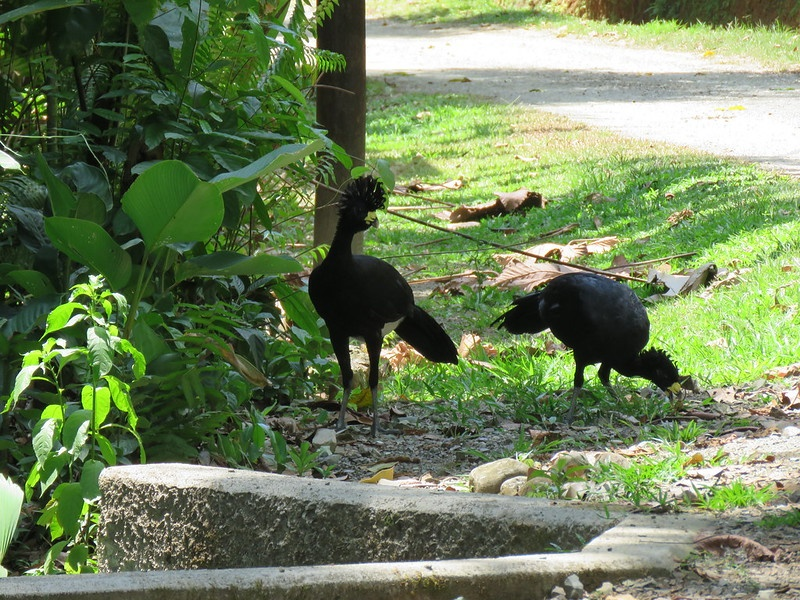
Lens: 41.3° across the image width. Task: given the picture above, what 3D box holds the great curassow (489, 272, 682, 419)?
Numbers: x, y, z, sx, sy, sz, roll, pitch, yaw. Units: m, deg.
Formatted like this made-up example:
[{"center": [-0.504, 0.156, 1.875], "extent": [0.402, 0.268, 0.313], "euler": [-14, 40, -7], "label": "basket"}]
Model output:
[{"center": [1.058, 0.183, 5.697], "extent": [1.112, 0.712, 0.524], "euler": [18, 15, 32], "label": "great curassow"}]
